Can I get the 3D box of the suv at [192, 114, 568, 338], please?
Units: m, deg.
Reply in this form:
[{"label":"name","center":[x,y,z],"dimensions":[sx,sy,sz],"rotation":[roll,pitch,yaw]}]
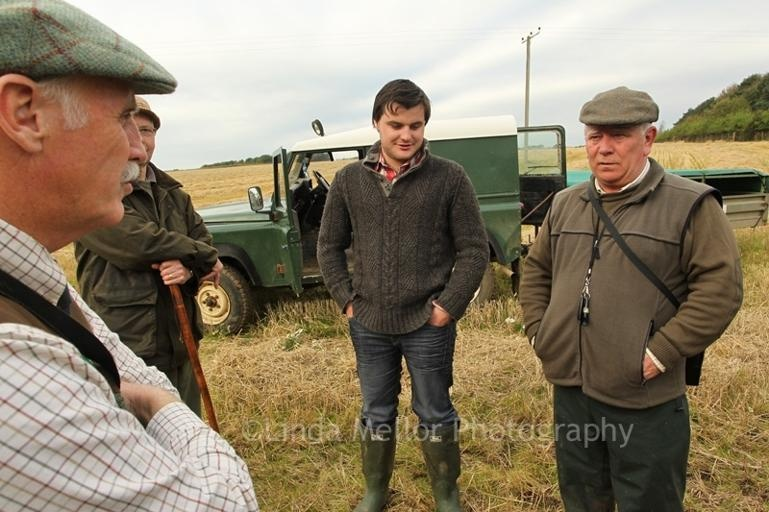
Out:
[{"label":"suv","center":[0.272,-0.480,7.155],"dimensions":[4.488,2.432,2.539],"rotation":[0,7,-3]}]
